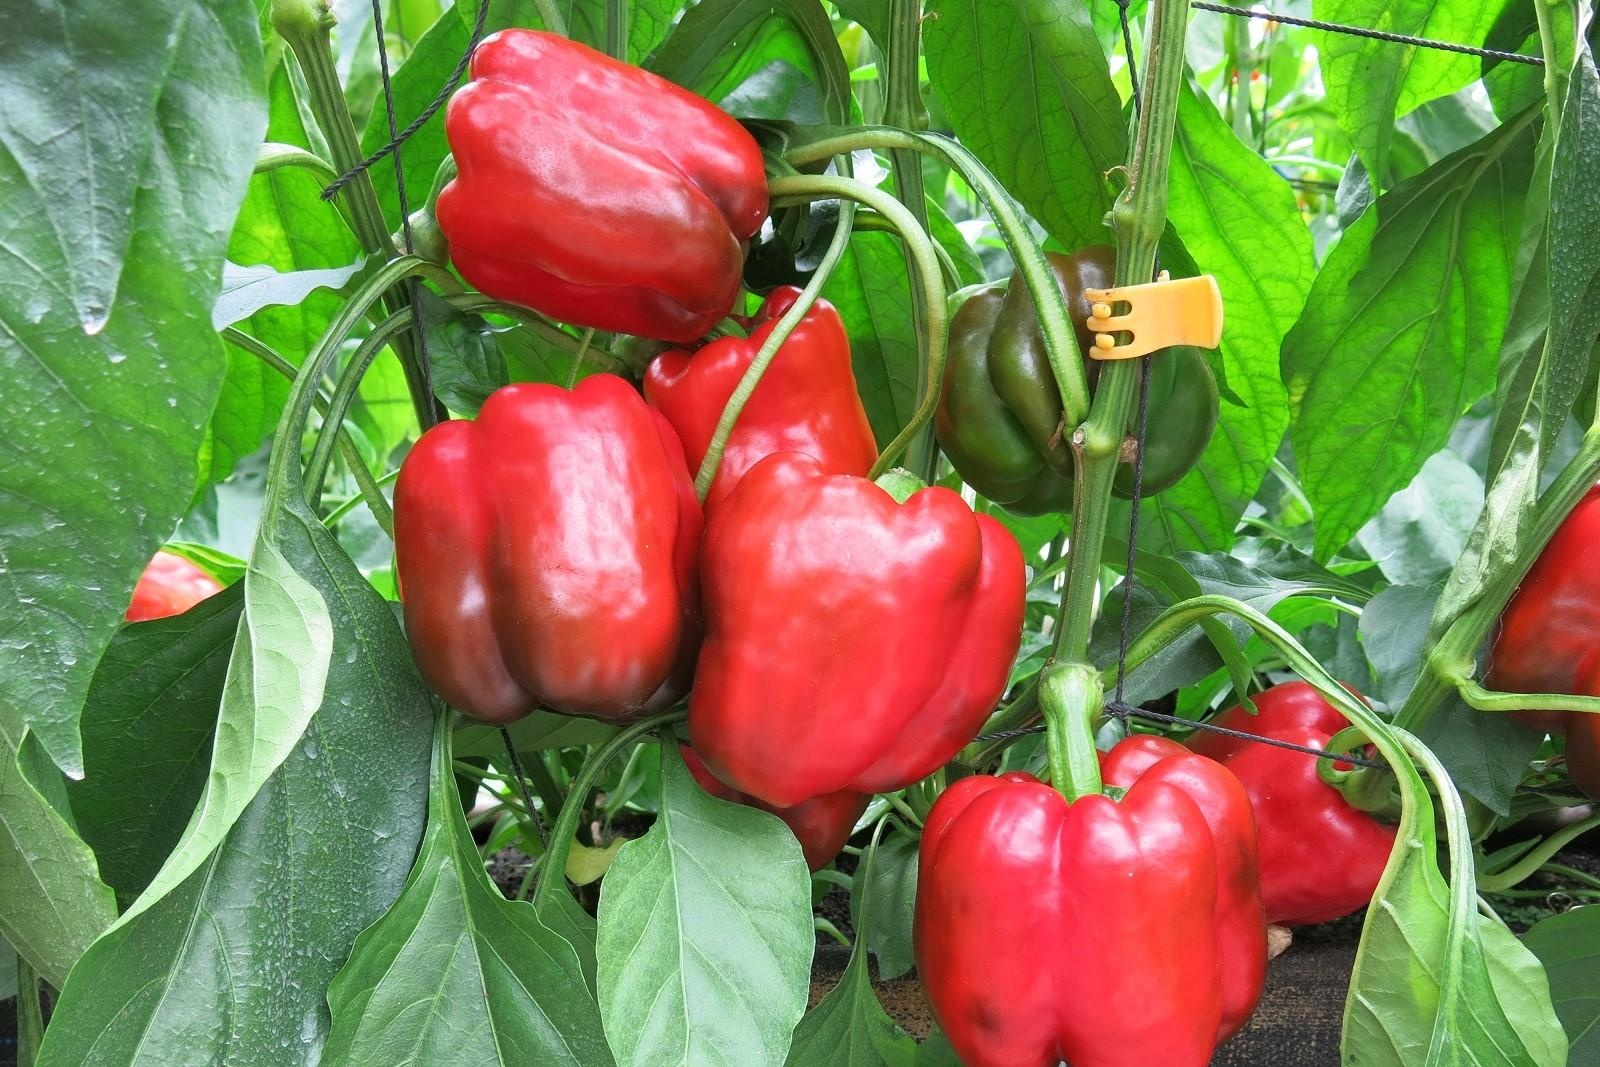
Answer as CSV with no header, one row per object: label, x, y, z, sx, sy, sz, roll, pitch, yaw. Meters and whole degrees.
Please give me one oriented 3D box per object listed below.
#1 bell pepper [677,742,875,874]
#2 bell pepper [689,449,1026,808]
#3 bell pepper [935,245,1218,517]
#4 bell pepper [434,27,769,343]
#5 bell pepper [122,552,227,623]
bell pepper,-0.016,0.131,0.692,0.048,0.044,0.066,54,28,14
bell pepper,0.015,0.043,0.778,0.175,0.181,0.162,21,-4,-32
bell pepper,0.159,-0.081,0.806,0.158,0.158,0.108,7,17,3
bell pepper,-0.099,-0.158,0.756,0.164,0.131,0.095,24,-15,-14
bell pepper,-0.379,0.027,0.868,0.039,0.031,0.097,3,16,-11
